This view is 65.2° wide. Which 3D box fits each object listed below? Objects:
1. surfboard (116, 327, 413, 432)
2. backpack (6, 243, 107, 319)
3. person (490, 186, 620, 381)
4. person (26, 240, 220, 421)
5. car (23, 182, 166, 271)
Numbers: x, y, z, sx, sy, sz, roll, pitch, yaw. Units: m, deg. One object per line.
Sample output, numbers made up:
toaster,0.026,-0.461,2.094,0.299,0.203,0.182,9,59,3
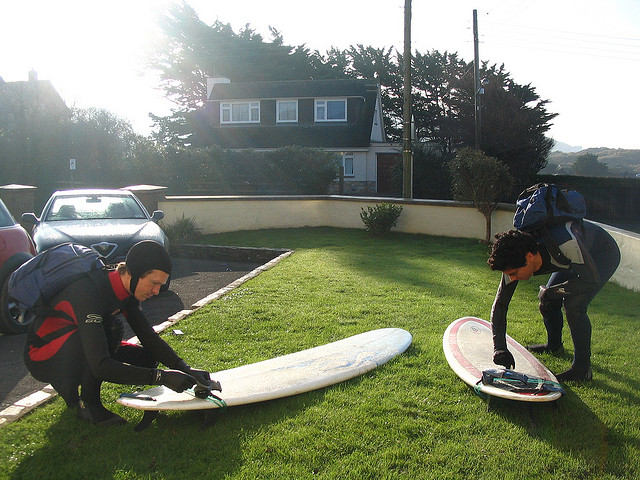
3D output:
surfboard,-0.219,1.294,5.022,3.106,0.501,0.986,-9,9,-29
backpack,-2.174,0.297,4.151,0.730,0.481,0.396,-7,15,-27
person,2.247,0.450,4.888,1.443,1.917,0.801,-12,18,-41
person,-1.692,0.769,4.374,1.626,1.603,1.128,3,-1,-5
car,-3.691,-0.338,8.162,1.927,1.508,3.230,0,-1,-29
